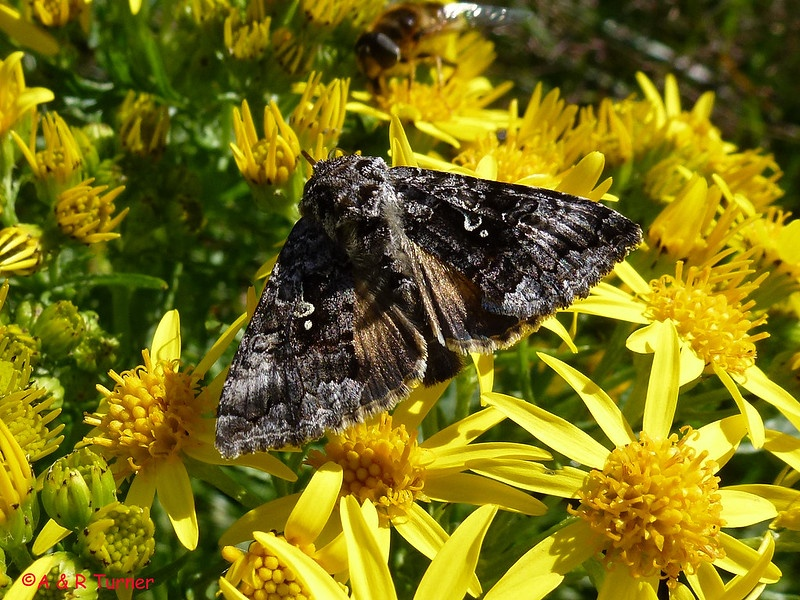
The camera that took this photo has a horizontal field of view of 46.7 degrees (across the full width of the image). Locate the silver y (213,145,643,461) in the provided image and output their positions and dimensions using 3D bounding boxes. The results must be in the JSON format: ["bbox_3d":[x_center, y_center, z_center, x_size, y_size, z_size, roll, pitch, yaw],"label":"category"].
[{"bbox_3d":[-0.012,-0.075,2.240,1.031,0.408,0.563,-15,52,-26],"label":"silver y"}]
